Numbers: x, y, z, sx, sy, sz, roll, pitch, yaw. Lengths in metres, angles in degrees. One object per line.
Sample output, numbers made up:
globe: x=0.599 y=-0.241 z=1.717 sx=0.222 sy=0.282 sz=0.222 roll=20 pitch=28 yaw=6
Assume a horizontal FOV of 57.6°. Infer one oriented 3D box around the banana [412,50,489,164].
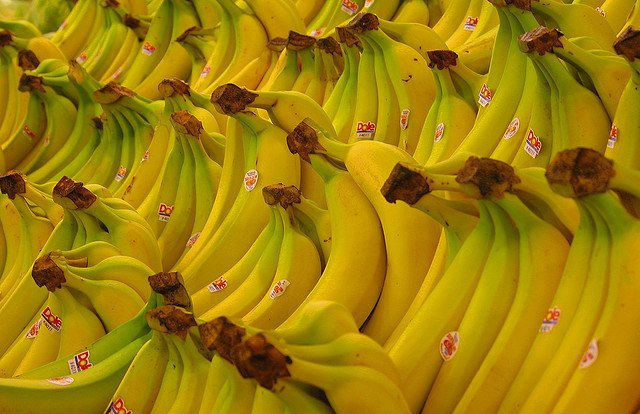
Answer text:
banana: x=0.493 y=-0.356 z=2.300 sx=0.158 sy=0.509 sz=0.219 roll=-20 pitch=13 yaw=-14
